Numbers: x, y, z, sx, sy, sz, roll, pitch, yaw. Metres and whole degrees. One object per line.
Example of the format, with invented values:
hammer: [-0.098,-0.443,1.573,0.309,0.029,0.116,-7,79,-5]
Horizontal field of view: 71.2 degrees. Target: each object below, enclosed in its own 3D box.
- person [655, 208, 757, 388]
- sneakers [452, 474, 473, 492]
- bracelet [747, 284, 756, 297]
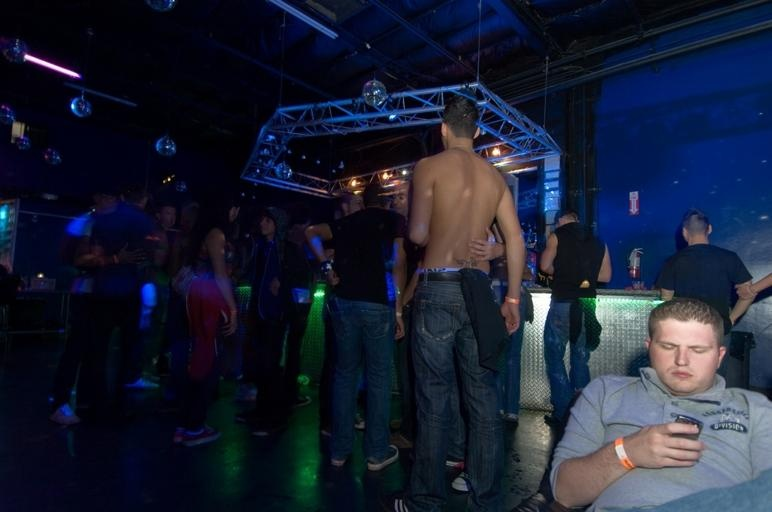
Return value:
person: [3.628,0.656,6.141,0.891,2.230,0.623,7,25,42]
sneakers: [0.673,2.019,4.817,0.150,0.118,0.277,1,-12,17]
bracelet: [4.009,0.370,5.902,0.091,0.112,0.091,-5,-25,15]
